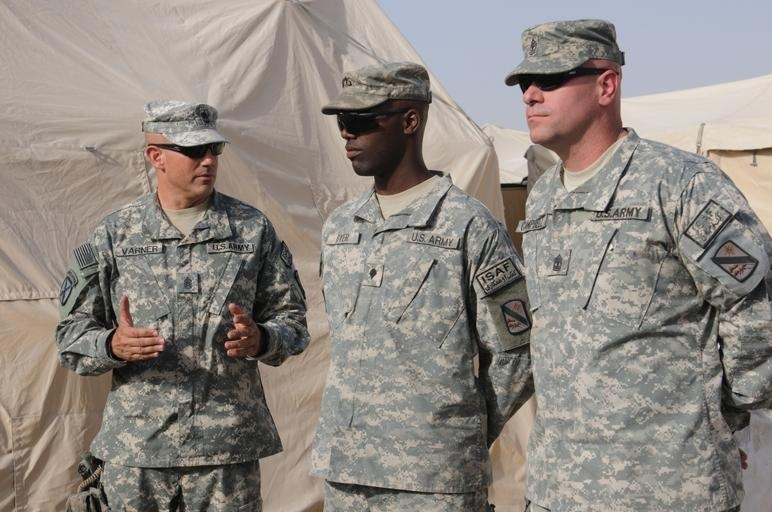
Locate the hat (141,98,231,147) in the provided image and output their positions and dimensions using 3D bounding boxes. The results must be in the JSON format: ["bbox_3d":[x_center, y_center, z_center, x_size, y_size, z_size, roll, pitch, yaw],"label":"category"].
[{"bbox_3d":[-1.478,-0.951,7.231,0.508,0.193,0.384,7,7,36],"label":"hat"}]

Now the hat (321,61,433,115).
[{"bbox_3d":[-0.039,-1.112,6.642,0.574,0.167,0.372,-13,8,-30],"label":"hat"}]
